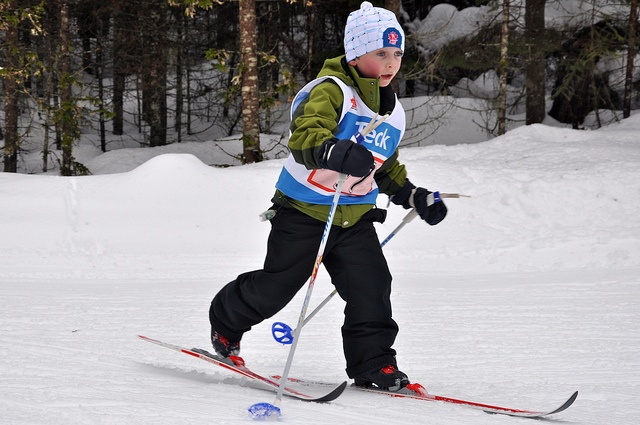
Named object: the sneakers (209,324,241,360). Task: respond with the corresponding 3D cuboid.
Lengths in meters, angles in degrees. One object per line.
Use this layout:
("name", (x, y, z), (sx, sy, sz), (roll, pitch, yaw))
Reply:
("sneakers", (-1.354, 1.883, 11.787), (0.290, 0.573, 0.224), (-29, 0, 23))

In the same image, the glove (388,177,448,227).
("glove", (1.440, -0.151, 12.032), (0.837, 0.488, 0.366), (30, 6, 15))

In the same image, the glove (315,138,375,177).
("glove", (0.336, -0.744, 11.251), (0.748, 0.526, 0.121), (-1, 2, -1))
